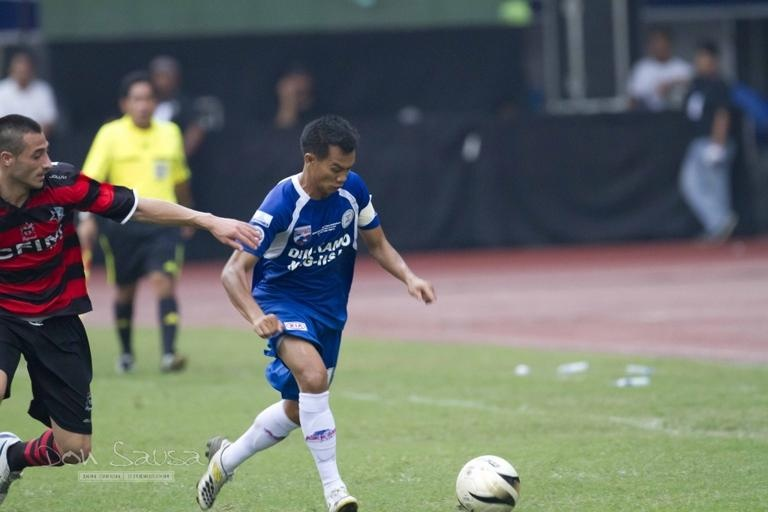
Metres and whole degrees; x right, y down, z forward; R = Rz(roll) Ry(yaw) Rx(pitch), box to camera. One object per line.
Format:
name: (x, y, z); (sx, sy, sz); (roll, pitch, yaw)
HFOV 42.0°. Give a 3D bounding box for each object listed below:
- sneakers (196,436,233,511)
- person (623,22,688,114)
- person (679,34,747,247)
sneakers: (-1.135, 1.430, 6.658); (0.238, 0.472, 0.174); (-10, -31, 25)
person: (2.309, -1.538, 8.472); (0.631, 0.781, 0.235); (-9, 53, 1)
person: (2.733, -0.999, 8.416); (0.433, 1.541, 1.485); (0, 10, 16)
